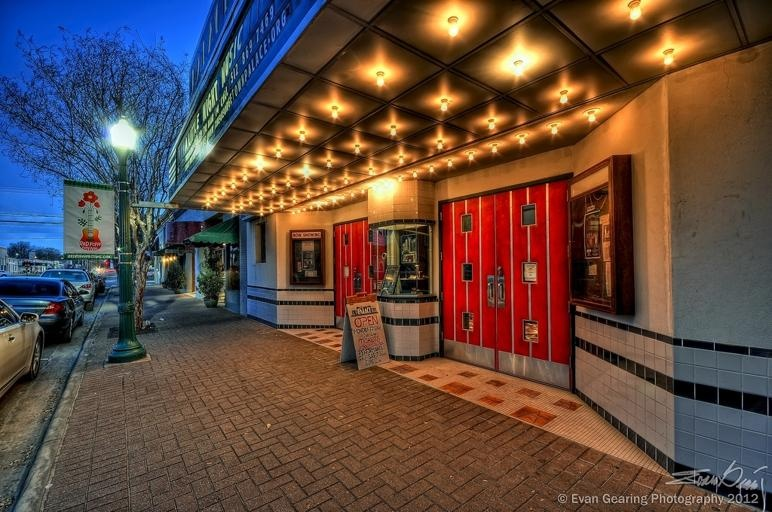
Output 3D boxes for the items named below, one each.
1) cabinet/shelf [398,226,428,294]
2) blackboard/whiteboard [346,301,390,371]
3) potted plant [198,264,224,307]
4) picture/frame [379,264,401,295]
[{"bbox_3d":[0.622,0.072,9.688,0.658,1.341,0.654,1,15,5],"label":"cabinet/shelf"},{"bbox_3d":[-0.345,1.562,9.188,0.865,1.207,0.739,-9,17,-31],"label":"blackboard/whiteboard"},{"bbox_3d":[-7.123,1.220,18.635,1.378,1.954,1.493,0,-1,-30],"label":"potted plant"},{"bbox_3d":[0.118,0.513,9.867,0.093,0.907,0.497,33,-32,-31],"label":"picture/frame"}]
